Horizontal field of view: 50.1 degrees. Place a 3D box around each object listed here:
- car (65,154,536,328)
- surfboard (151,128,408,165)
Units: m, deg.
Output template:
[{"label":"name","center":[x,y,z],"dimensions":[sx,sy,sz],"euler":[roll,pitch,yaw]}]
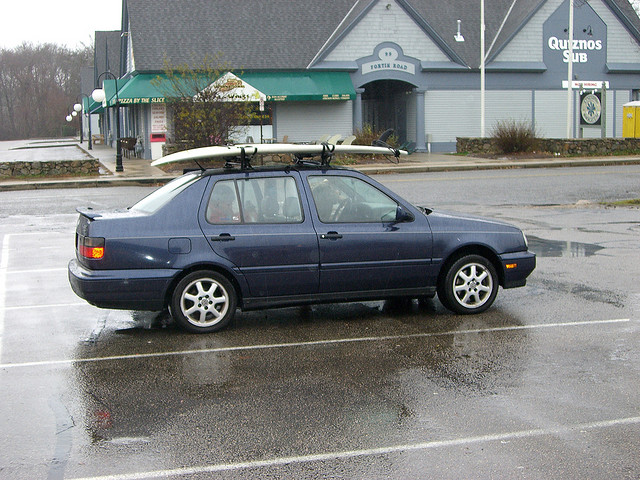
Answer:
[{"label":"car","center":[-0.382,-0.048,9.058],"dimensions":[5.285,1.944,2.305],"euler":[-4,6,-13]},{"label":"surfboard","center":[-0.631,-1.109,8.682],"dimensions":[2.919,0.218,0.642],"euler":[-2,11,-6]}]
